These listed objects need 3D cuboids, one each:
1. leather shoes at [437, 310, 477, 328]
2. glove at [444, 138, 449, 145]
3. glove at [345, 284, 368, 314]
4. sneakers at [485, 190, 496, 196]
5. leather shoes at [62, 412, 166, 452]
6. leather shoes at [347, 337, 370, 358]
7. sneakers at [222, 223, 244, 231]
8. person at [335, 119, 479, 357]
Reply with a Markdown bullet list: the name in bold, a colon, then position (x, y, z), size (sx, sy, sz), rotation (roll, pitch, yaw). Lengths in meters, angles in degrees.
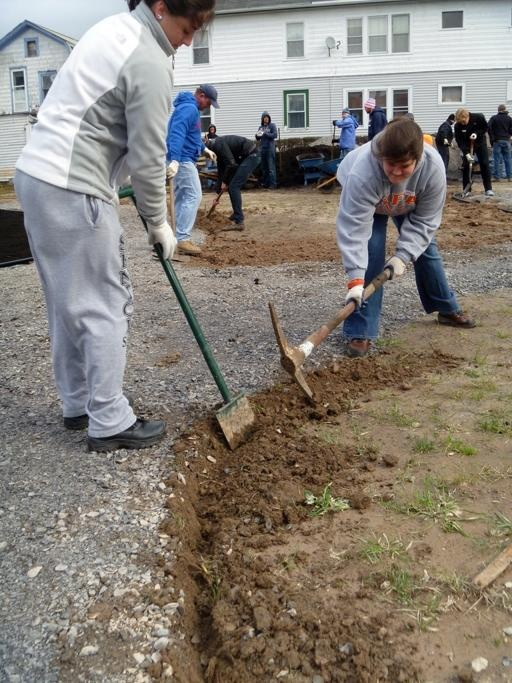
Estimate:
- **leather shoes**: position (1.641, -0.202, 4.550), size (0.315, 0.153, 0.119), rotation (7, 24, 24)
- **glove**: position (5.450, -5.732, 15.790), size (0.175, 0.062, 0.235), rotation (2, 5, 16)
- **glove**: position (0.661, -0.276, 3.680), size (0.136, 0.064, 0.318), rotation (-9, -16, -5)
- **sneakers**: position (5.341, -3.382, 12.549), size (0.142, 0.151, 0.365), rotation (-2, 10, 4)
- **leather shoes**: position (-0.621, 0.446, 2.644), size (0.314, 0.103, 0.225), rotation (-3, 11, -25)
- **leather shoes**: position (0.738, 0.049, 4.002), size (0.170, 0.147, 0.099), rotation (5, -9, 11)
- **sneakers**: position (-0.401, -2.012, 9.701), size (0.429, 0.161, 0.135), rotation (1, 8, -5)
- **person**: position (0.989, -0.700, 3.899), size (0.814, 1.604, 1.392), rotation (4, 14, 21)
